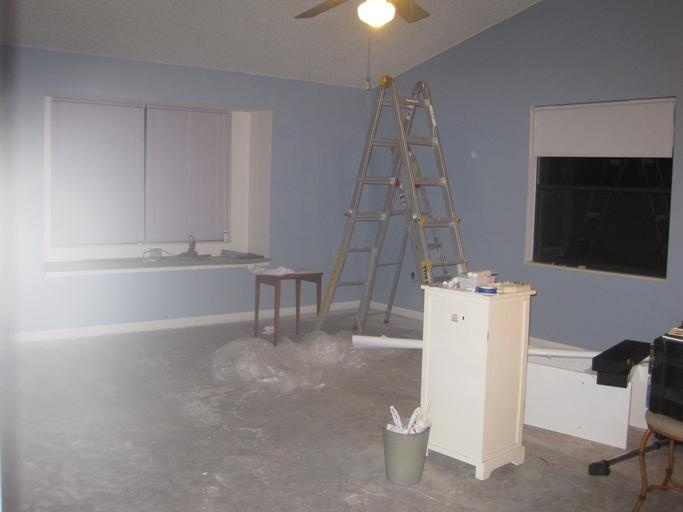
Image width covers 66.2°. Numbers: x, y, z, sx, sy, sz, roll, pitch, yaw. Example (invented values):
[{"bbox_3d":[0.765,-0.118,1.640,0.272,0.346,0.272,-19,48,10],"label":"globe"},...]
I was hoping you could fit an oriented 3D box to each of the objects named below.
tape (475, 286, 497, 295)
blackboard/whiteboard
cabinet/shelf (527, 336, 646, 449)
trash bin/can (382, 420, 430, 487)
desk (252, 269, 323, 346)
[{"bbox_3d":[0.913,0.213,3.258,0.151,0.037,0.095,-1,10,-13],"label":"tape"},{"bbox_3d":[2.674,-0.698,5.301,1.773,2.146,0.180,5,7,44],"label":"blackboard/whiteboard"},{"bbox_3d":[1.851,1.010,3.978,0.835,0.534,0.740,5,11,21],"label":"cabinet/shelf"},{"bbox_3d":[0.349,1.179,3.213,0.321,0.361,0.322,1,1,-3],"label":"trash bin/can"},{"bbox_3d":[-0.578,0.546,6.126,0.774,1.117,0.800,3,3,39],"label":"desk"}]
